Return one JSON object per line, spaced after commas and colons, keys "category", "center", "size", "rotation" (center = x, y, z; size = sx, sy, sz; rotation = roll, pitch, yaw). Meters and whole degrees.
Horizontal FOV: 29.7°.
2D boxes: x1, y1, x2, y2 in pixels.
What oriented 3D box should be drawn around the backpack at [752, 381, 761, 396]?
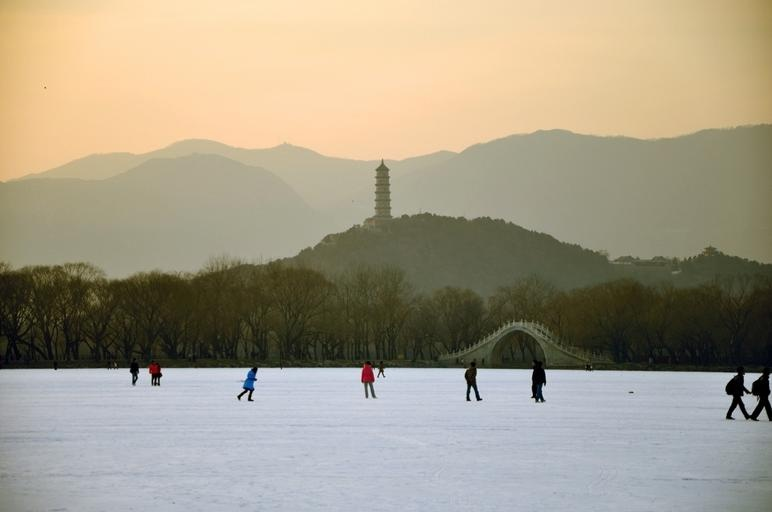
{"category": "backpack", "center": [21.917, 7.768, 85.496], "size": [0.482, 0.893, 0.757], "rotation": [-1, -6, 14]}
